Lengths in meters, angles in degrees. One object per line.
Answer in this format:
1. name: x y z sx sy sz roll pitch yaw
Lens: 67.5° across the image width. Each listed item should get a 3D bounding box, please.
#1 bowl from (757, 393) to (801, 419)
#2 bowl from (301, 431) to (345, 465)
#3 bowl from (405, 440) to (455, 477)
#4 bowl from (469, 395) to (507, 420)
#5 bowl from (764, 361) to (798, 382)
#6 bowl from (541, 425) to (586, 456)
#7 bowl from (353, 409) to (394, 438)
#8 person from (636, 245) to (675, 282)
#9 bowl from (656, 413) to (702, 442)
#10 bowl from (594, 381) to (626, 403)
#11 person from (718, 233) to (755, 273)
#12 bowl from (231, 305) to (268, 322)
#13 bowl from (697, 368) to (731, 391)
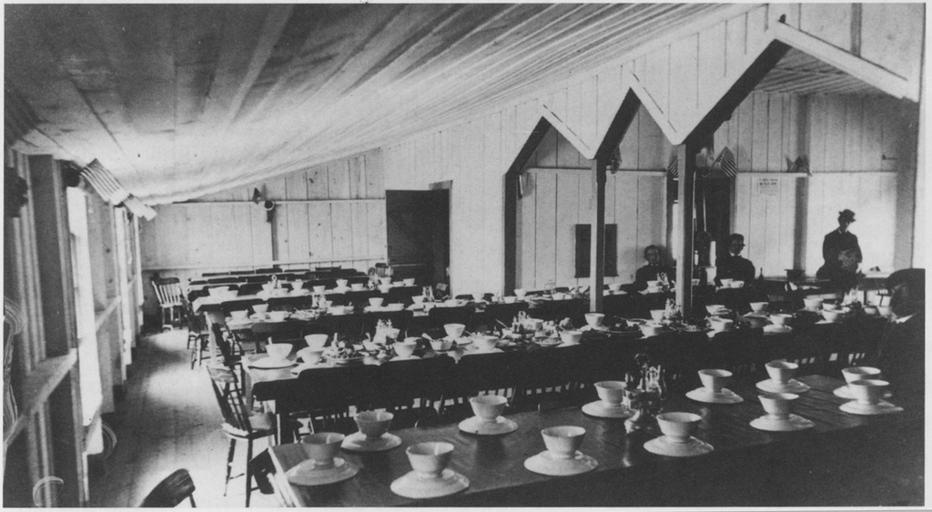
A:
1. bowl: 2.514 1.172 5.544 0.252 0.136 0.256 -1 2 0
2. bowl: -1.052 1.419 5.141 0.302 0.149 0.300 -1 4 0
3. bowl: -0.272 1.522 5.079 0.337 0.152 0.311 0 -13 0
4. bowl: 0.183 1.216 5.603 0.387 0.136 0.337 0 -5 0
5. bowl: 2.716 0.977 5.983 0.245 0.117 0.217 -2 8 12
6. bowl: 0.731 1.390 5.206 0.350 0.158 0.300 -3 3 -11
7. bowl: -0.702 1.307 5.468 0.262 0.110 0.231 -1 -7 6
8. person: 3.264 0.144 12.049 0.805 0.506 0.405 -4 -2 -21
9. bowl: 1.621 1.279 5.275 0.260 0.106 0.246 -3 -1 0
10. bowl: 1.205 1.125 5.772 0.205 0.087 0.180 -1 2 6
11. person: 4.446 -0.032 11.358 0.807 0.612 0.416 3 12 17
12. bowl: -2.775 0.740 9.038 0.366 0.113 0.341 -2 -6 0
13. bowl: 2.124 1.043 5.936 0.229 0.118 0.202 1 -2 8
